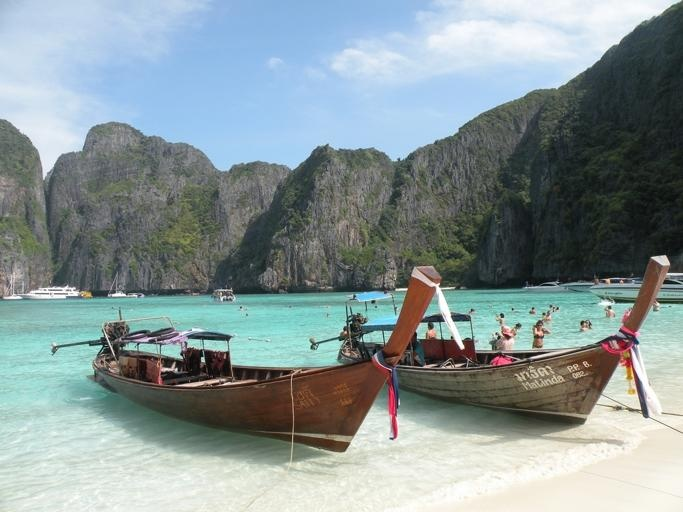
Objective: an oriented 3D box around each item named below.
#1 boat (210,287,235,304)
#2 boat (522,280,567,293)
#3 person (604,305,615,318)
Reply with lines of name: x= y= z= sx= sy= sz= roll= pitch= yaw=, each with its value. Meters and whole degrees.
boat: x=-25.273 y=8.271 z=113.479 sx=4.079 sy=3.649 sz=10.857 roll=1 pitch=4 yaw=-20
boat: x=32.842 y=4.989 z=85.529 sx=2.248 sy=1.672 sz=7.173 roll=2 pitch=-1 yaw=-17
person: x=19.443 y=3.989 z=38.620 sx=0.731 sy=0.413 sz=1.031 roll=0 pitch=10 yaw=6
